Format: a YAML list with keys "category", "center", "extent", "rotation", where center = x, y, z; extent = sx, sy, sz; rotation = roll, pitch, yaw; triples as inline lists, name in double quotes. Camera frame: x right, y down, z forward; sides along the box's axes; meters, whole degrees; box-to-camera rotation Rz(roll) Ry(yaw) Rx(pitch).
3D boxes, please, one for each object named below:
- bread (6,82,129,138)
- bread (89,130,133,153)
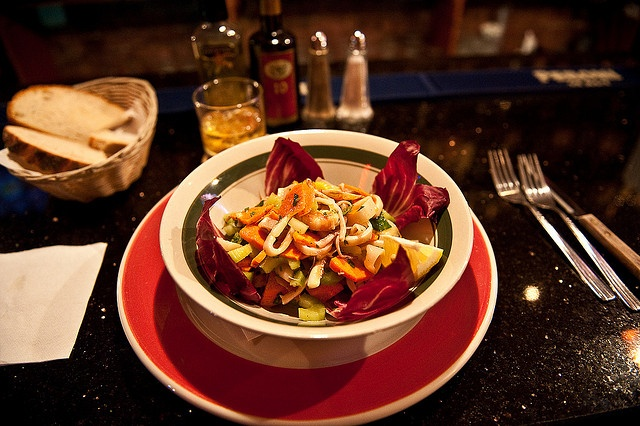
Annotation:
- category: "bread"
  center: [-0.814, -0.294, 1.504]
  extent: [0.328, 0.079, 0.172]
  rotation: [21, 53, -23]
- category: "bread"
  center: [-0.647, -0.223, 1.435]
  extent: [0.105, 0.029, 0.099]
  rotation: [-20, 31, -40]
